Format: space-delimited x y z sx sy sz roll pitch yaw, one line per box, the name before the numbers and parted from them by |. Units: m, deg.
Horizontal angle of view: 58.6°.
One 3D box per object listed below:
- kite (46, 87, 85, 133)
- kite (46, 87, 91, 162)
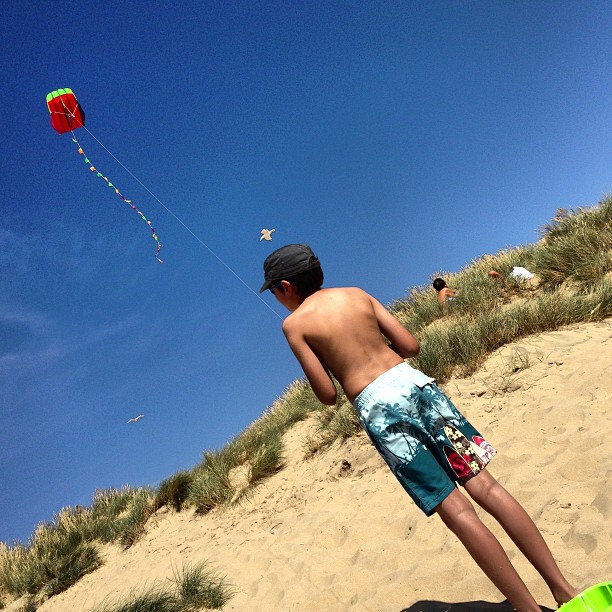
kite | -3.173 -2.549 7.281 0.335 0.546 0.752 -17 -24 -38
kite | -3.123 -2.434 7.226 0.417 0.832 0.684 -26 -19 -16
